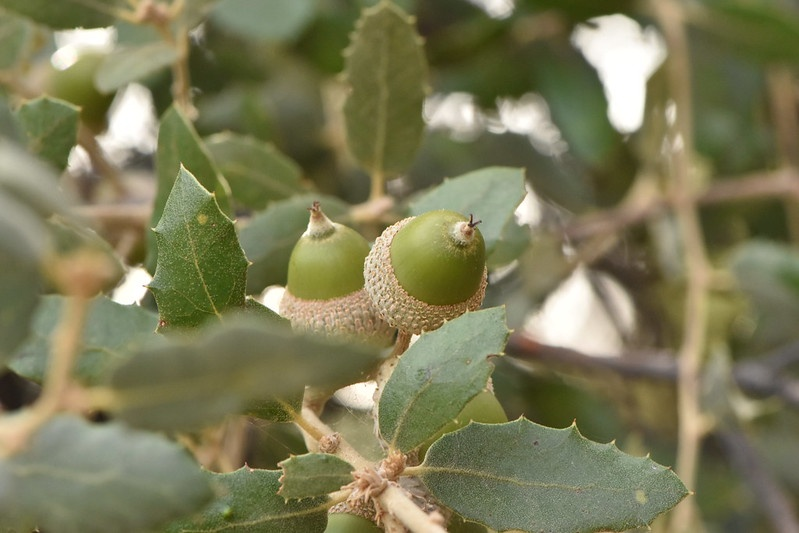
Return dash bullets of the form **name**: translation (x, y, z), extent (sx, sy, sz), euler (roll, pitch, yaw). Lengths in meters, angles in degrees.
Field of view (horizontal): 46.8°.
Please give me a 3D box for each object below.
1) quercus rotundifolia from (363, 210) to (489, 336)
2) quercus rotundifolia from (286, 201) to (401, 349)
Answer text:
- **quercus rotundifolia**: translation (0.029, 0.005, 1.061), extent (0.130, 0.077, 0.119), euler (-11, 68, -6)
- **quercus rotundifolia**: translation (-0.093, 0.016, 1.155), extent (0.140, 0.202, 0.149), euler (-10, 31, -8)
